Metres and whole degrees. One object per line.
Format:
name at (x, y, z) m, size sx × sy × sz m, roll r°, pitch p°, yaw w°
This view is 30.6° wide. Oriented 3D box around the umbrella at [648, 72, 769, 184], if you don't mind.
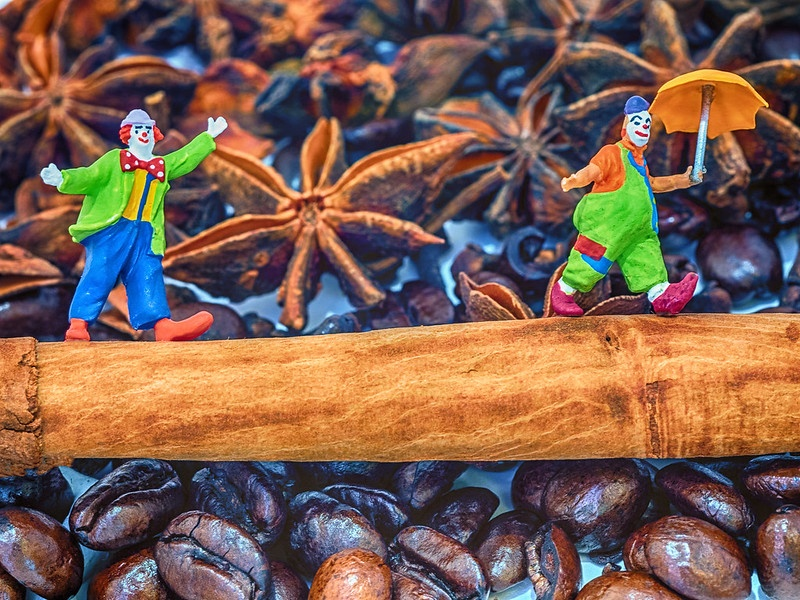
umbrella at (1.219, -0.690, 5.922) m, size 0.436 × 0.445 × 0.420 m, roll -7°, pitch 67°, yaw 34°
